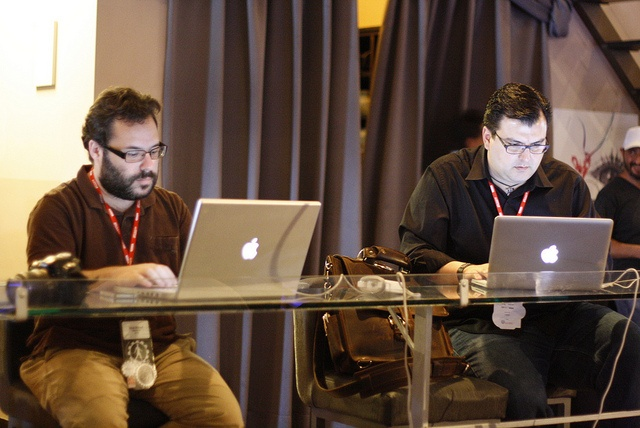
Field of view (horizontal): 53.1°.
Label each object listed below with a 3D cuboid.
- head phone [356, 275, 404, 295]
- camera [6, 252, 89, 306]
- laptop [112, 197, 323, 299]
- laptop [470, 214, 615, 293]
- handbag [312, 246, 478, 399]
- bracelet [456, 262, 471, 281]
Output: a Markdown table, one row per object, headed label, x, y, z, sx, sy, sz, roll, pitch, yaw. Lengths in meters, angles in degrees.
| label | x | y | z | sx | sy | sz | roll | pitch | yaw |
| --- | --- | --- | --- | --- | --- | --- | --- | --- | --- |
| head phone | 0.208 | 0.253 | 2.284 | 0.108 | 0.046 | 0.070 | 5 | 0 | 7 |
| camera | -0.897 | 0.220 | 2.110 | 0.160 | 0.120 | 0.172 | -7 | -10 | 35 |
| laptop | -0.293 | 0.112 | 2.445 | 0.440 | 0.281 | 0.384 | 8 | -9 | -42 |
| laptop | 0.945 | 0.144 | 2.594 | 0.443 | 0.302 | 0.317 | 3 | 4 | -10 |
| handbag | 0.304 | 0.475 | 2.792 | 0.542 | 0.622 | 0.559 | 10 | -22 | -36 |
| bracelet | 0.616 | 0.242 | 2.822 | 0.031 | 0.090 | 0.064 | 14 | 6 | -15 |
